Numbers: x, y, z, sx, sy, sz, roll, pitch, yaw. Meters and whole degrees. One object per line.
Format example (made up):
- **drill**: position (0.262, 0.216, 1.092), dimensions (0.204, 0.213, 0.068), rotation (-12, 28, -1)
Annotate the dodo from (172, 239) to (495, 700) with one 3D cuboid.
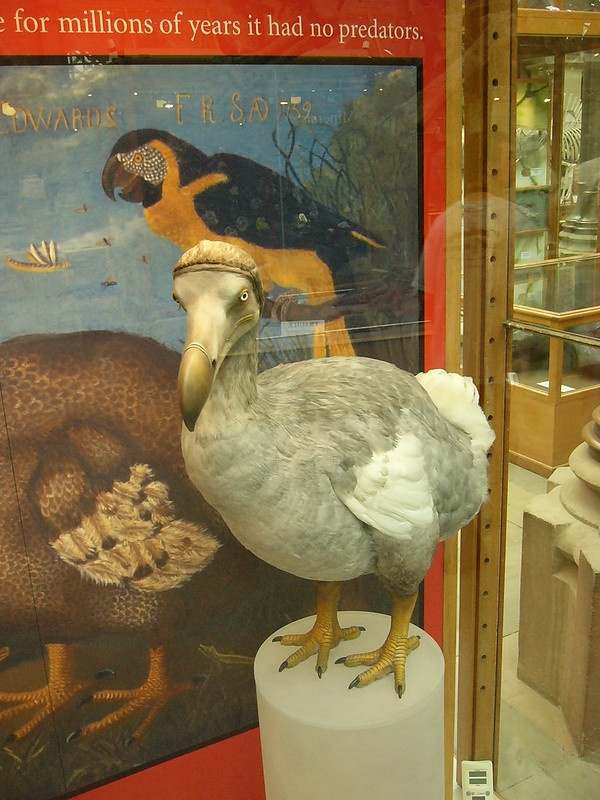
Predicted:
- **dodo**: position (0.024, 0.098, 1.412), dimensions (0.420, 0.660, 0.743), rotation (8, 13, 44)
